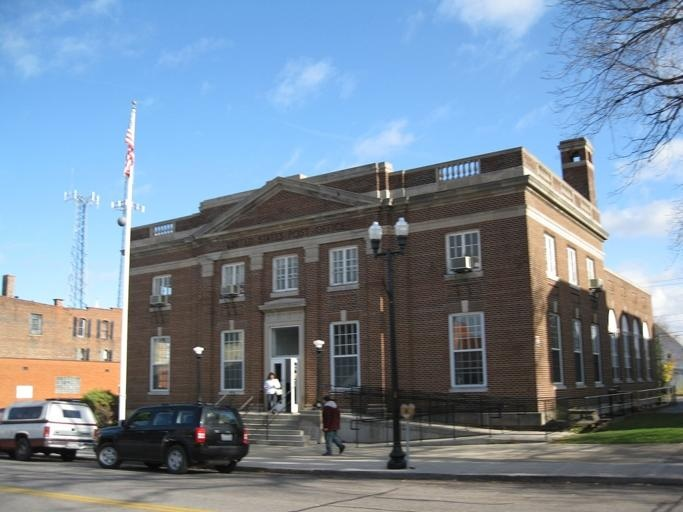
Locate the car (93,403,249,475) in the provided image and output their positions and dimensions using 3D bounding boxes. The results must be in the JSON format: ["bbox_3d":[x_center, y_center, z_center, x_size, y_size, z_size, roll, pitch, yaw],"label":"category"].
[{"bbox_3d":[-6.187,6.403,30.978,5.292,2.341,1.625,-7,-16,18],"label":"car"}]

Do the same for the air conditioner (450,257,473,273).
[{"bbox_3d":[5.562,0.394,39.941,0.956,0.718,1.431,1,-1,-33],"label":"air conditioner"}]
